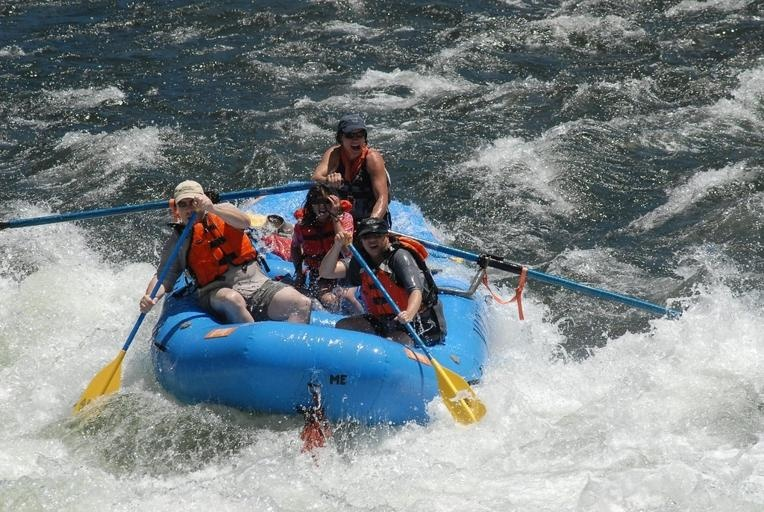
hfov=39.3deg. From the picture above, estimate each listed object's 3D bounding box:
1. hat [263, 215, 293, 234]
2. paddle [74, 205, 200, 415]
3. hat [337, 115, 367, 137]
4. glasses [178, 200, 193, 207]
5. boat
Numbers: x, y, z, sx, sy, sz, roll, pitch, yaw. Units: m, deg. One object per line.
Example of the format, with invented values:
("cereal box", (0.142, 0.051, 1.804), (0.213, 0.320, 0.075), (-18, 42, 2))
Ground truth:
("hat", (-1.419, -0.415, 14.696), (0.351, 0.129, 0.249), (30, 26, 24))
("paddle", (-3.145, 0.798, 13.679), (0.376, 0.217, 3.036), (30, 78, 3))
("hat", (-0.429, -1.697, 13.896), (0.315, 0.395, 0.179), (-2, 82, -14))
("glasses", (-2.370, -0.621, 12.908), (0.164, 0.082, 0.194), (-4, 11, -18))
("boat", (-1.286, 1.184, 14.677), (3.647, 1.248, 4.679), (10, 7, -8))
